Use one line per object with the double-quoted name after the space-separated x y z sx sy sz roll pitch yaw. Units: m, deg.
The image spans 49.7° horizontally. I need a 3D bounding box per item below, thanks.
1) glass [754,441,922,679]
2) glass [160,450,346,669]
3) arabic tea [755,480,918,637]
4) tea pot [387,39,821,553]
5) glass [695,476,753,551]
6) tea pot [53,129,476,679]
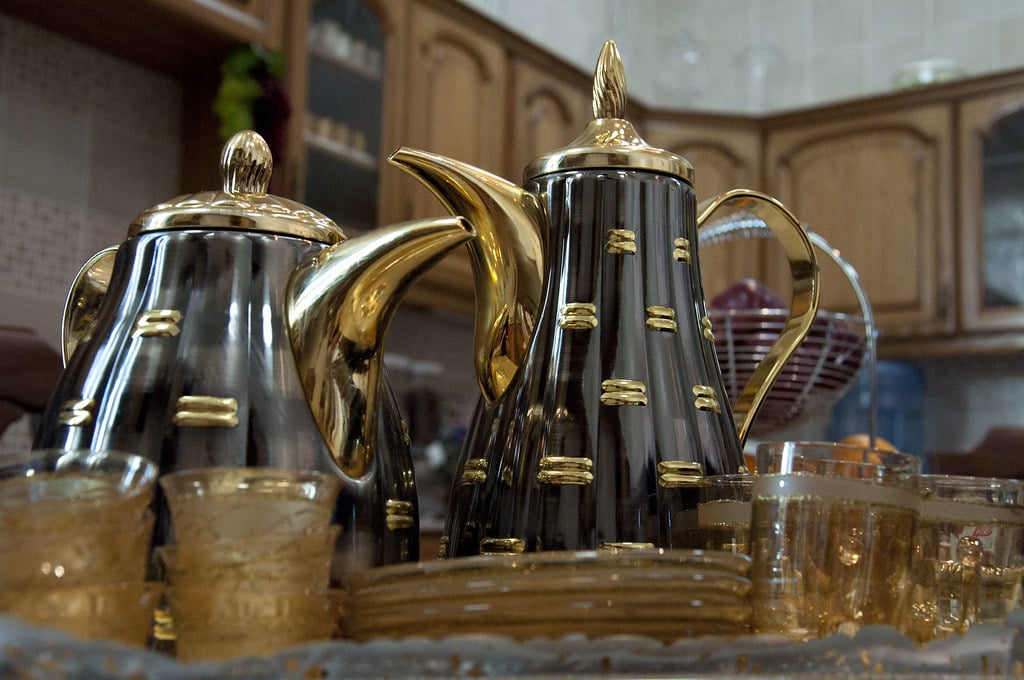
0.144 0.085 0.500 0.069 0.096 0.093 1 10 11 "glass"
-0.090 0.098 0.454 0.067 0.080 0.082 -3 -15 4 "glass"
0.128 0.094 0.458 0.052 0.068 0.069 -1 -13 11 "arabic tea"
0.059 0.001 0.567 0.191 0.285 0.131 1 -9 2 "tea pot"
0.098 0.079 0.496 0.011 0.034 0.028 11 -15 -44 "glass"
-0.139 0.021 0.568 0.249 0.251 0.184 5 1 22 "tea pot"
